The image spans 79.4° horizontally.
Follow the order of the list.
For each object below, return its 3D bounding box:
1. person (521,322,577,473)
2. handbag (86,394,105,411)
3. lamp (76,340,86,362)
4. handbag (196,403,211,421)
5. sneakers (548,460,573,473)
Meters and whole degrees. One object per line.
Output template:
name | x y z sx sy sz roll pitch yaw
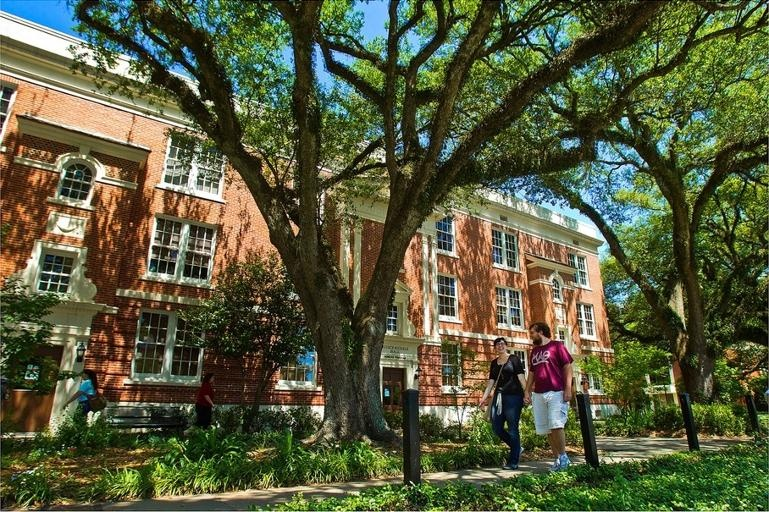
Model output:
person | 3.602 2.969 10.060 0.993 3.075 0.879 -7 -22 14
handbag | -9.075 4.642 14.571 0.383 0.665 0.690 -3 -10 -29
lamp | -10.860 3.410 16.506 0.302 0.739 0.263 16 -27 -36
handbag | -5.337 4.600 13.786 0.467 0.514 0.469 0 -1 -6
sneakers | 3.711 4.414 9.728 0.247 0.289 0.681 -22 -33 36
